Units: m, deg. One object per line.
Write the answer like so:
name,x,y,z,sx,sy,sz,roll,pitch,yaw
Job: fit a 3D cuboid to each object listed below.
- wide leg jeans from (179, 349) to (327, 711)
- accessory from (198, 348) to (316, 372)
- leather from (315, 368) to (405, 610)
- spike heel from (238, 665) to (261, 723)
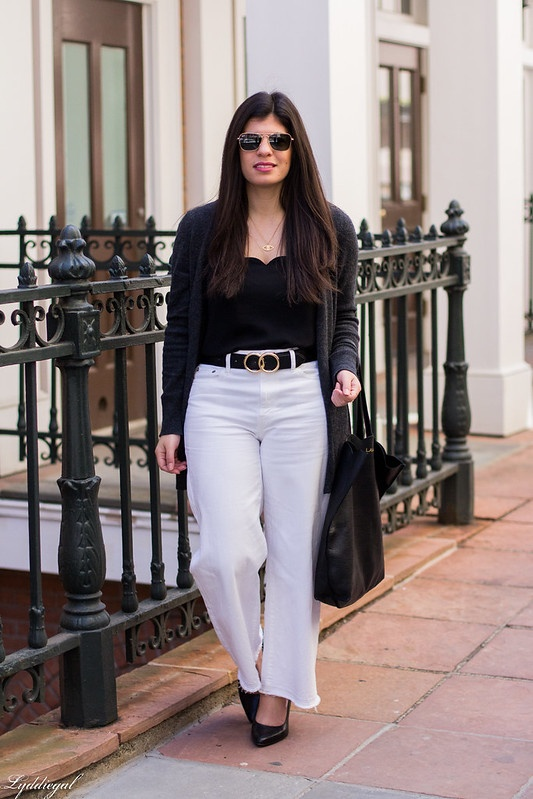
wide leg jeans,-0.024,0.302,2.456,0.321,0.768,0.174,0,6,-6
accessory,-0.019,-0.086,2.390,0.241,0.051,0.102,1,7,0
leather,0.212,0.187,2.506,0.118,0.513,0.277,0,2,25
spike heel,-0.046,0.689,2.602,0.044,0.119,0.038,-7,11,22
